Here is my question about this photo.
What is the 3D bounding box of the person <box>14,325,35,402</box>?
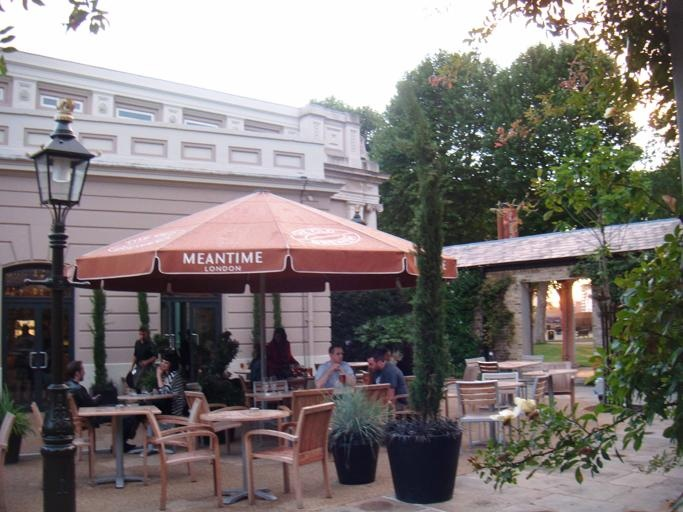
[{"bbox_3d":[-6.998,2.376,18.378,0.413,1.432,0.377,-10,-9,9],"label":"person"}]

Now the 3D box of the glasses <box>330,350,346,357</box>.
[{"bbox_3d":[-0.062,1.571,13.361,0.129,0.130,0.153,4,-20,-45],"label":"glasses"}]

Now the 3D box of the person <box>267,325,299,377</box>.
[{"bbox_3d":[-1.221,1.917,16.231,0.708,0.971,0.750,2,2,43],"label":"person"}]

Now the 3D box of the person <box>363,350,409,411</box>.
[{"bbox_3d":[0.811,2.086,13.741,0.932,1.144,0.925,-7,-2,6],"label":"person"}]
